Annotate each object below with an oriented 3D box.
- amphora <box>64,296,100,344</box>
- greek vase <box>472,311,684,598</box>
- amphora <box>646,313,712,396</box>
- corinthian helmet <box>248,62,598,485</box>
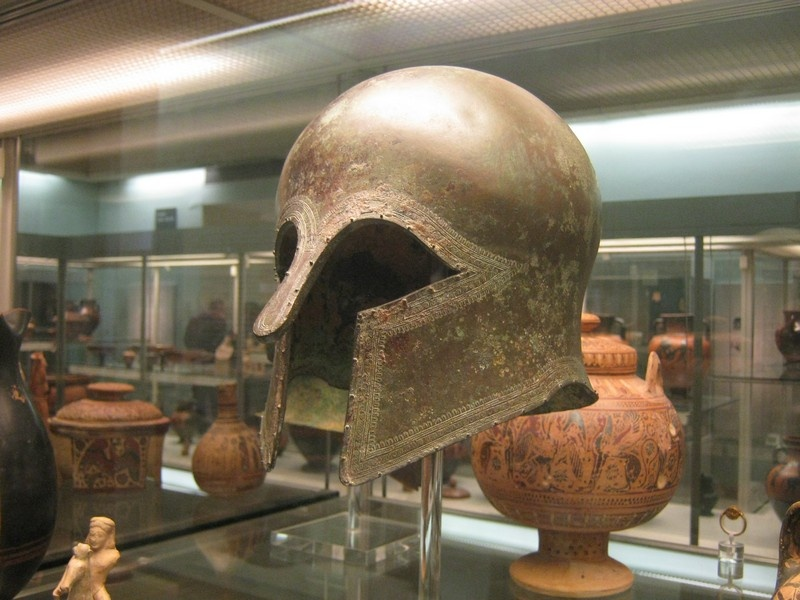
[{"bbox_3d":[-1.036,0.048,2.911,0.142,0.143,0.109,-3,30,-38],"label":"amphora"},{"bbox_3d":[0.450,0.441,2.656,0.594,0.690,0.617,0,-7,3],"label":"greek vase"},{"bbox_3d":[0.900,0.178,2.841,0.213,0.296,0.216,-1,-5,21],"label":"amphora"},{"bbox_3d":[0.057,-0.072,2.378,0.865,0.987,0.657,1,-1,-10],"label":"corinthian helmet"}]
